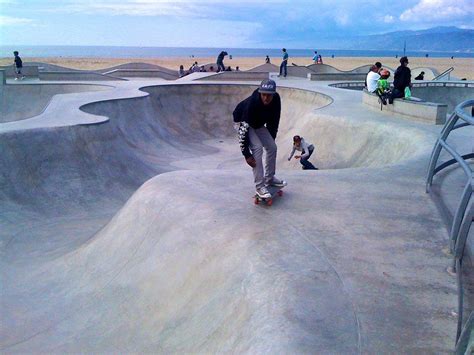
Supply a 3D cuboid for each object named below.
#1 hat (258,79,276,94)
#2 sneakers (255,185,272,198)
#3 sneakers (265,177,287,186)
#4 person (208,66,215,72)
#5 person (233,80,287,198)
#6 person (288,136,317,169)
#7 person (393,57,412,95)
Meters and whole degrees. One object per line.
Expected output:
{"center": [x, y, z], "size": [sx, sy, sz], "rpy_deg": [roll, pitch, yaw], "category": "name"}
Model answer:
{"center": [0.400, -1.199, 4.896], "size": [0.223, 0.187, 0.251], "rpy_deg": [0, 23, 3], "category": "hat"}
{"center": [0.380, 0.210, 5.259], "size": [0.108, 0.104, 0.281], "rpy_deg": [-15, 8, -21], "category": "sneakers"}
{"center": [0.584, 0.062, 5.620], "size": [0.377, 0.140, 0.117], "rpy_deg": [-1, 21, -1], "category": "sneakers"}
{"center": [-2.003, -8.609, 29.607], "size": [0.522, 0.554, 0.970], "rpy_deg": [-2, 15, -2], "category": "person"}
{"center": [0.315, -0.526, 5.267], "size": [0.723, 1.712, 0.709], "rpy_deg": [6, 26, 17], "category": "person"}
{"center": [1.946, -0.714, 10.837], "size": [0.806, 1.083, 0.484], "rpy_deg": [-32, 44, -5], "category": "person"}
{"center": [5.227, -3.196, 11.747], "size": [0.520, 1.295, 1.596], "rpy_deg": [8, 25, 21], "category": "person"}
